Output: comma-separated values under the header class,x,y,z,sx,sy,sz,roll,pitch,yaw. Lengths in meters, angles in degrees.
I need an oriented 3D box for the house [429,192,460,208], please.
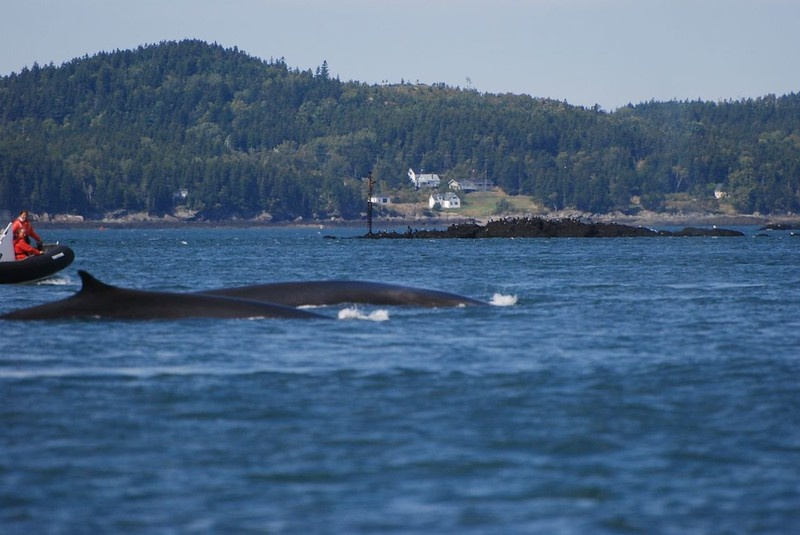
class,x,y,z,sx,sy,sz,roll,pitch,yaw
house,17.327,-25.328,674.271,12.101,5.974,12.722,1,5,2
